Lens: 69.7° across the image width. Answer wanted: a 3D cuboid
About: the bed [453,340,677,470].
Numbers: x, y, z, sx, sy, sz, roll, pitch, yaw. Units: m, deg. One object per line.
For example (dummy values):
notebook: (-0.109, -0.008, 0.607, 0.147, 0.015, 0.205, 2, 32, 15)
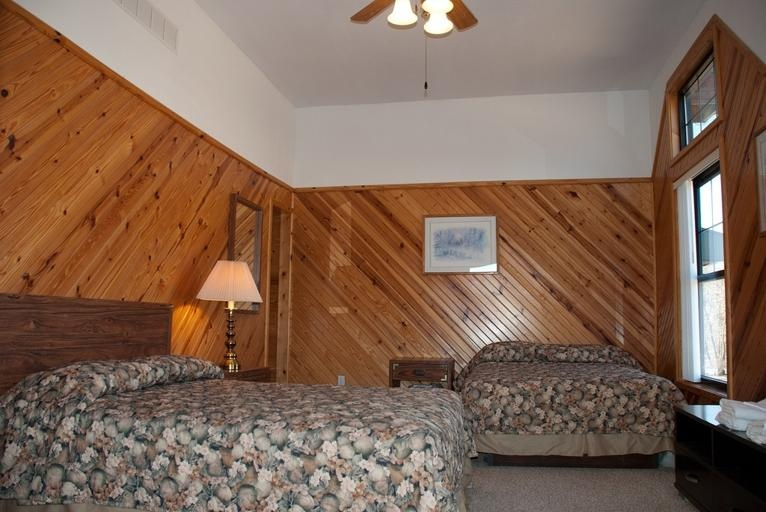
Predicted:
bed: (1.702, 1.377, 5.440, 1.920, 0.801, 1.586, 1, 2, 7)
